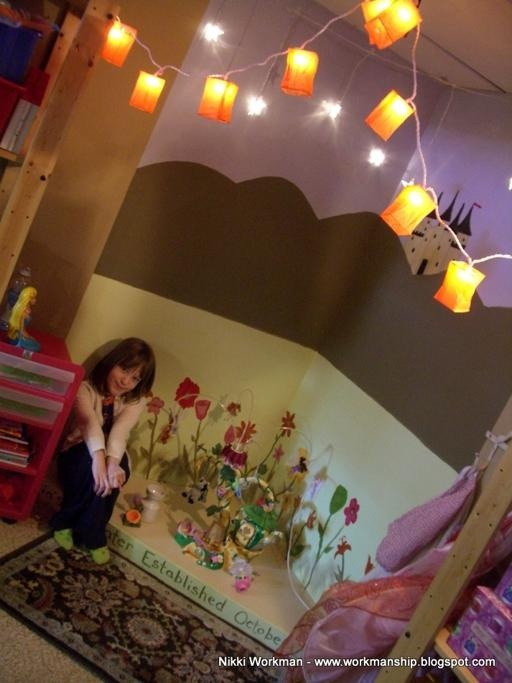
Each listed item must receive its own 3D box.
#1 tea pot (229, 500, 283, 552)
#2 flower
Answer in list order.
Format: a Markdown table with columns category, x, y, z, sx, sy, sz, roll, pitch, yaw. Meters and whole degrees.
| category | x | y | z | sx | sy | sz | roll | pitch | yaw |
| --- | --- | --- | --- | --- | --- | --- | --- | --- | --- |
| tea pot | -0.028 | 0.945 | 2.430 | 0.252 | 0.252 | 0.121 | -7 | -14 | 31 |
| flower | -0.026 | 0.846 | 2.803 | 1.004 | 0.608 | 0.523 | 27 | 19 | 28 |
